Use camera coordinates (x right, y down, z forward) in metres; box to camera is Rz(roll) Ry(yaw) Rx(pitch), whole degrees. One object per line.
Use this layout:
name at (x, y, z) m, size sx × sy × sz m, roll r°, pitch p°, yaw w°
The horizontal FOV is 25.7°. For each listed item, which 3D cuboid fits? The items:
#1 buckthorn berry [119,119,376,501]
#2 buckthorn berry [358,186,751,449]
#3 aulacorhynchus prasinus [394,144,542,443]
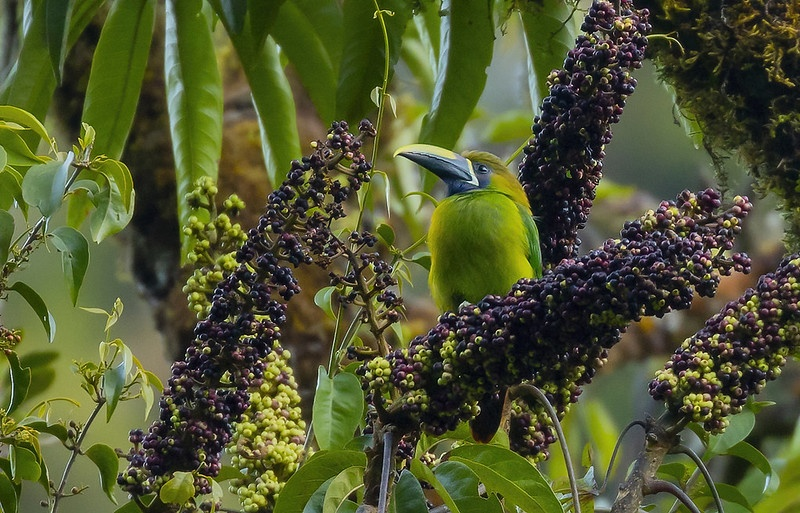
buckthorn berry at (-0.664, 0.257, 7.947) m, size 0.915 × 2.157 × 0.768 m, roll 5°, pitch 4°, yaw 19°
buckthorn berry at (0.727, 0.260, 7.852) m, size 1.672 × 1.117 × 0.328 m, roll -2°, pitch -21°, yaw 13°
aulacorhynchus prasinus at (0.377, 0.082, 8.691) m, size 0.533 × 1.270 × 0.857 m, roll 0°, pitch -2°, yaw 33°
